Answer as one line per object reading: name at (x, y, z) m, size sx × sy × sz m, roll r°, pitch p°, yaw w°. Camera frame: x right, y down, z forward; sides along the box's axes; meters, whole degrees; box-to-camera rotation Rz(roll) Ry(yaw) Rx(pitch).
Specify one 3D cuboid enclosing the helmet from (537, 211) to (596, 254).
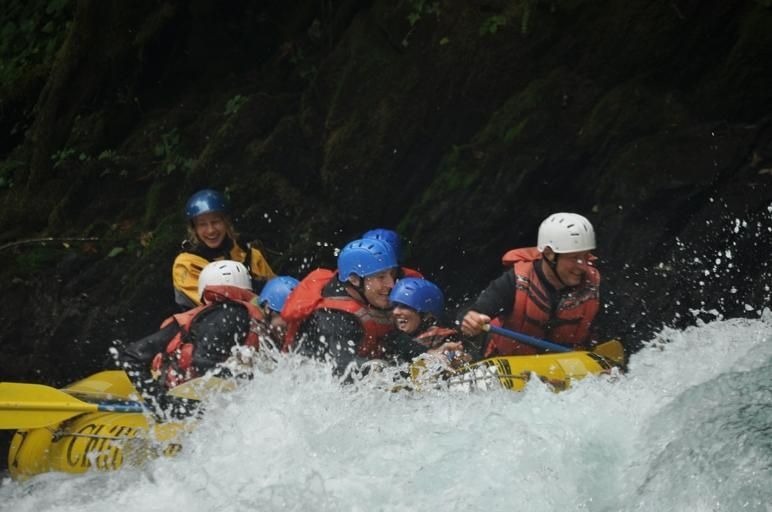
helmet at (1.120, -0.154, 5.760) m, size 0.298 × 0.189 × 0.229 m, roll 5°, pitch 15°, yaw 32°

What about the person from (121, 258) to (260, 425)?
person at (-1.306, 0.624, 6.331) m, size 0.570 × 1.233 × 0.552 m, roll 45°, pitch 4°, yaw -21°

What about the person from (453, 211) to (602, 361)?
person at (0.940, 0.191, 5.838) m, size 0.651 × 0.926 × 0.378 m, roll 17°, pitch 17°, yaw -12°

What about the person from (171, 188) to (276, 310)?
person at (-1.241, 0.022, 6.637) m, size 0.586 × 0.943 × 0.460 m, roll -13°, pitch 30°, yaw -11°

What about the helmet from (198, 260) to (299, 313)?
helmet at (-0.964, 0.133, 6.441) m, size 0.560 × 0.236 × 0.367 m, roll 17°, pitch 0°, yaw -5°
